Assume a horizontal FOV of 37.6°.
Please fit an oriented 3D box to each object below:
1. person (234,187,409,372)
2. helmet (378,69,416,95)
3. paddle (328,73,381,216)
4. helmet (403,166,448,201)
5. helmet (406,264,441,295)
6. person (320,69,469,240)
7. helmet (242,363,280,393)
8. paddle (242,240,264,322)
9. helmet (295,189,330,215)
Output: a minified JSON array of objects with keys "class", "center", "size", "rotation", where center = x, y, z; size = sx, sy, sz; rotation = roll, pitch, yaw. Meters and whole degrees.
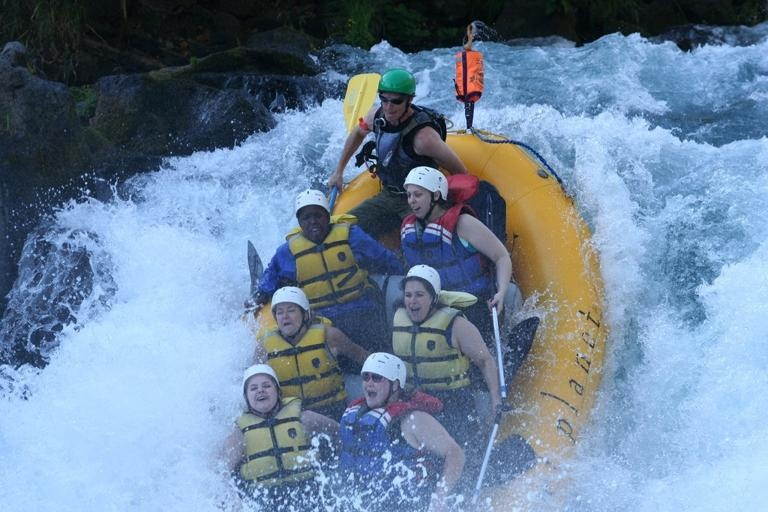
[{"class":"person","center":[-0.616,0.335,12.133],"size":[1.111,0.608,1.613],"rotation":[-31,66,0]},{"class":"helmet","center":[0.124,-1.822,12.178],"size":[0.405,0.347,0.293],"rotation":[0,63,-2]},{"class":"paddle","center":[-0.418,-1.311,13.421],"size":[0.484,0.140,1.906],"rotation":[1,68,36]},{"class":"helmet","center":[0.438,-0.770,11.967],"size":[0.391,0.298,0.334],"rotation":[-11,102,-20]},{"class":"helmet","center":[0.388,0.237,11.741],"size":[0.245,0.303,0.354],"rotation":[-20,90,1]},{"class":"person","center":[0.093,-1.053,12.676],"size":[1.196,2.117,0.853],"rotation":[31,42,32]},{"class":"helmet","center":[-1.281,1.288,11.580],"size":[0.208,0.222,0.305],"rotation":[-4,92,-5]},{"class":"paddle","center":[-1.446,0.263,12.318],"size":[0.202,0.079,0.824],"rotation":[-18,46,29]},{"class":"helmet","center":[-0.782,-0.597,12.113],"size":[0.335,0.124,0.287],"rotation":[0,64,-2]}]
